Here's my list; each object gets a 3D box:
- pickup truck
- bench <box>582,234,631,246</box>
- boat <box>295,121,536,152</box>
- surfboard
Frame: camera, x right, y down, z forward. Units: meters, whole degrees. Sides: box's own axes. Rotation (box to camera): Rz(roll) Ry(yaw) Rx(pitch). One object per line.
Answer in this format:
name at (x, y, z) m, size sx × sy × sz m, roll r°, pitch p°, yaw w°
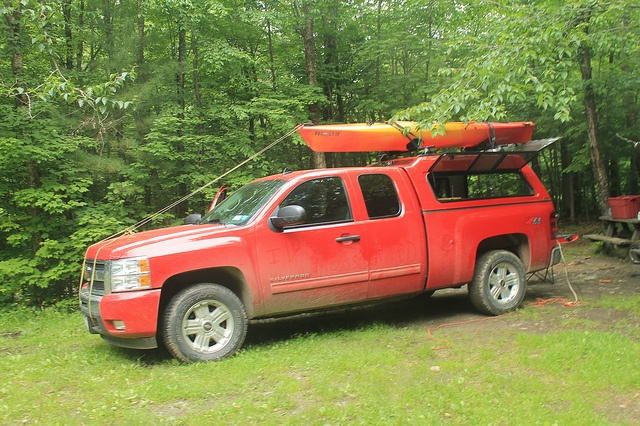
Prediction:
pickup truck at (-0.363, 0.591, 10.046) m, size 9.732 × 2.650 × 3.597 m, roll -2°, pitch -3°, yaw -21°
bench at (7.748, 0.776, 13.840) m, size 0.602 × 0.255 × 1.412 m, roll -4°, pitch 3°, yaw -10°
boat at (1.989, -1.514, 10.373) m, size 4.355 × 0.424 × 0.871 m, roll -2°, pitch 7°, yaw -6°
surfboard at (1.993, -1.513, 10.374) m, size 4.830 × 0.479 × 0.890 m, roll -2°, pitch 7°, yaw -6°
